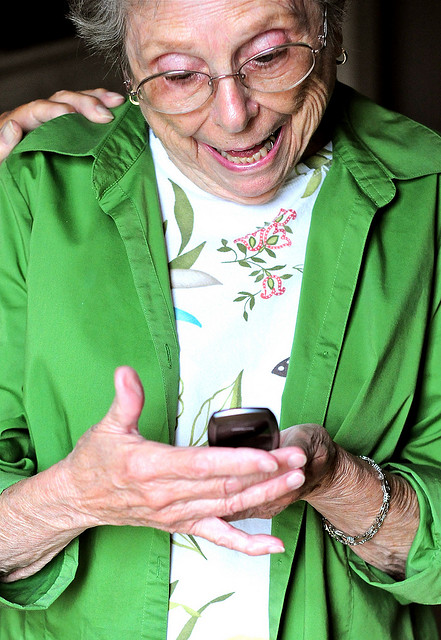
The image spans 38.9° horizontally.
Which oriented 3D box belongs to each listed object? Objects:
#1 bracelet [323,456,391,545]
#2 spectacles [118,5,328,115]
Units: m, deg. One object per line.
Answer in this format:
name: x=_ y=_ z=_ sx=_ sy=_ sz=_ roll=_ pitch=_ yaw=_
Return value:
bracelet: x=0.241 y=0.317 z=1.066 sx=0.090 sy=0.164 sz=0.100 roll=31 pitch=57 yaw=29
spectacles: x=0.004 y=-0.369 z=0.962 sx=0.290 sy=0.103 sz=0.092 roll=-2 pitch=46 yaw=2
